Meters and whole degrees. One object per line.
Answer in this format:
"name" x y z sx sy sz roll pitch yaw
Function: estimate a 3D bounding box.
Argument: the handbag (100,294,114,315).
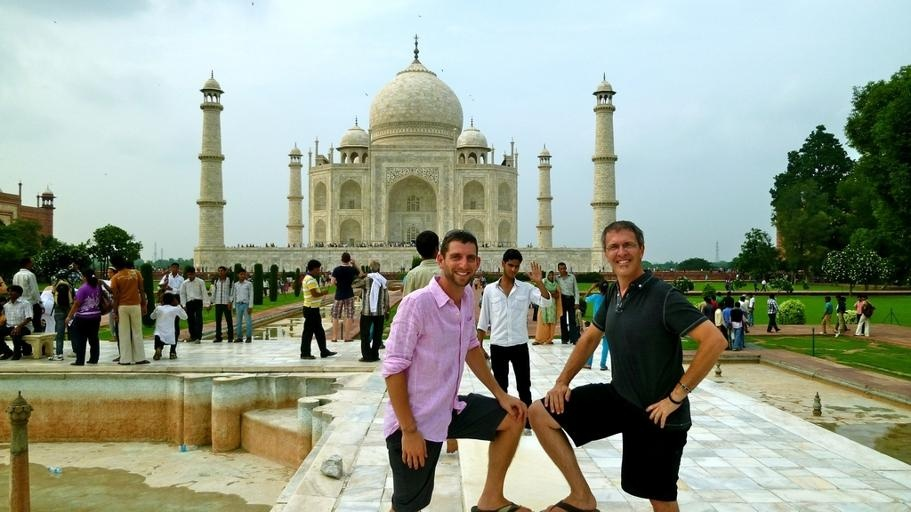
"handbag" -7.270 1.030 17.068 0.268 0.459 0.498 -3 -1 -16

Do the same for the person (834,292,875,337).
"person" 11.437 1.753 23.497 1.237 1.137 0.692 -1 -9 13

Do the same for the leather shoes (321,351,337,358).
"leather shoes" -2.699 2.116 17.391 0.347 0.133 0.106 -8 4 -9

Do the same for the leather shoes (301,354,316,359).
"leather shoes" -3.113 2.151 17.281 0.315 0.111 0.296 -2 -1 -10
